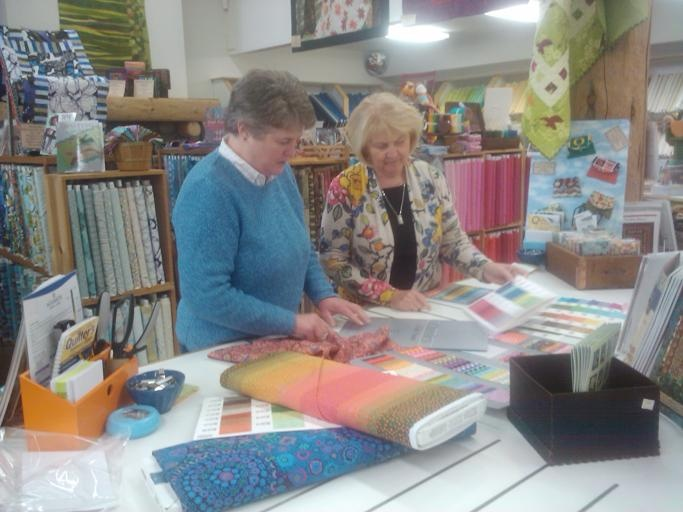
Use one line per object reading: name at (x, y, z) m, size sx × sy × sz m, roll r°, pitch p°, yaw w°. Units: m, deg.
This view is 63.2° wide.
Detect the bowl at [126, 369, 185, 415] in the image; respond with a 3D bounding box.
bowl at (-0.543, 0.384, 1.623) m, size 0.125 × 0.077 × 0.129 m, roll -2°, pitch 6°, yaw 0°
